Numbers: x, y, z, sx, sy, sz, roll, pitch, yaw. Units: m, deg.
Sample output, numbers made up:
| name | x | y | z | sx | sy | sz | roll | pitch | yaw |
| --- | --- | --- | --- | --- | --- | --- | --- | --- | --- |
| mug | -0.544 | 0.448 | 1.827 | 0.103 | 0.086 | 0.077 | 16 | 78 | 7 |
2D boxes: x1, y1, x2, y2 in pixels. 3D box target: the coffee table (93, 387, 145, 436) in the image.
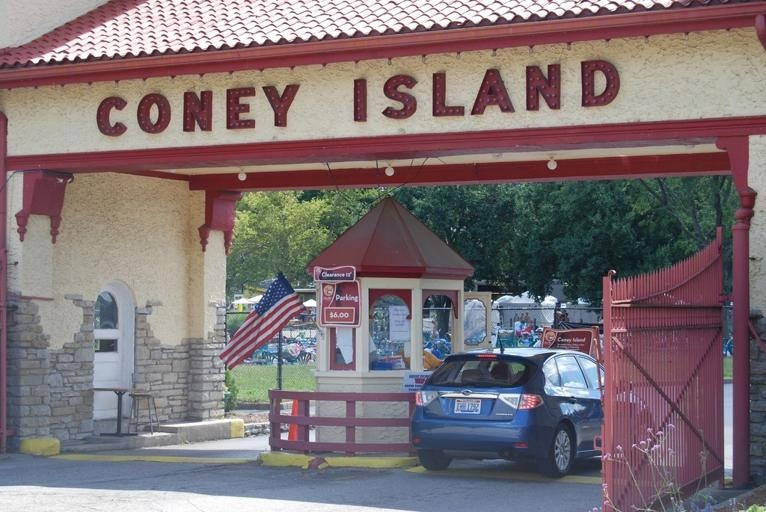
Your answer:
| name | x | y | z | sx | sy | sz | roll | pitch | yaw |
| --- | --- | --- | --- | --- | --- | --- | --- | --- | --- |
| coffee table | -5.301 | 3.099 | 26.257 | 0.945 | 0.963 | 1.185 | 5 | -8 | -38 |

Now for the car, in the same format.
| name | x | y | z | sx | sy | sz | roll | pitch | yaw |
| --- | --- | --- | --- | --- | --- | --- | --- | --- | --- |
| car | 2.706 | 2.723 | 23.619 | 2.727 | 2.121 | 5.132 | -1 | -4 | 33 |

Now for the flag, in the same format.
| name | x | y | z | sx | sy | sz | roll | pitch | yaw |
| --- | --- | --- | --- | --- | --- | --- | --- | --- | --- |
| flag | -2.298 | 1.227 | 25.426 | 1.585 | 1.842 | 0.444 | -3 | -7 | 26 |
